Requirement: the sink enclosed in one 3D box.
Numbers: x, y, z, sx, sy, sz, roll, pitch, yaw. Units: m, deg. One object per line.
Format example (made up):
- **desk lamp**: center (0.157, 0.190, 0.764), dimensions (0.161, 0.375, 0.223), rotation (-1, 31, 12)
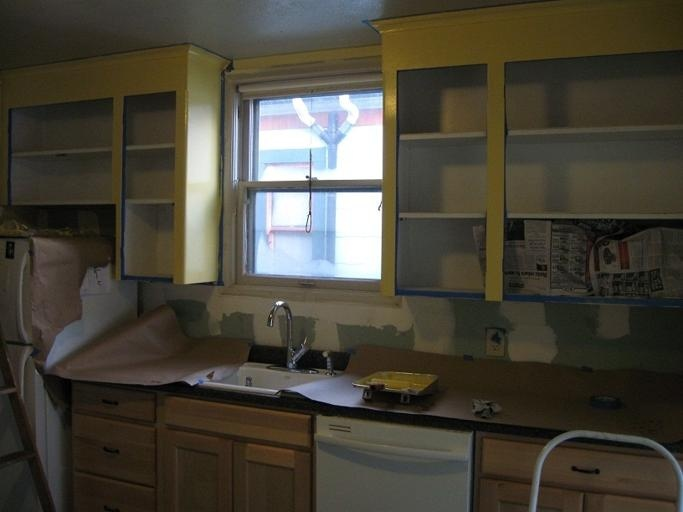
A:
- **sink**: center (-0.411, 0.748, 3.562), dimensions (0.693, 0.187, 0.577), rotation (2, 1, 18)
